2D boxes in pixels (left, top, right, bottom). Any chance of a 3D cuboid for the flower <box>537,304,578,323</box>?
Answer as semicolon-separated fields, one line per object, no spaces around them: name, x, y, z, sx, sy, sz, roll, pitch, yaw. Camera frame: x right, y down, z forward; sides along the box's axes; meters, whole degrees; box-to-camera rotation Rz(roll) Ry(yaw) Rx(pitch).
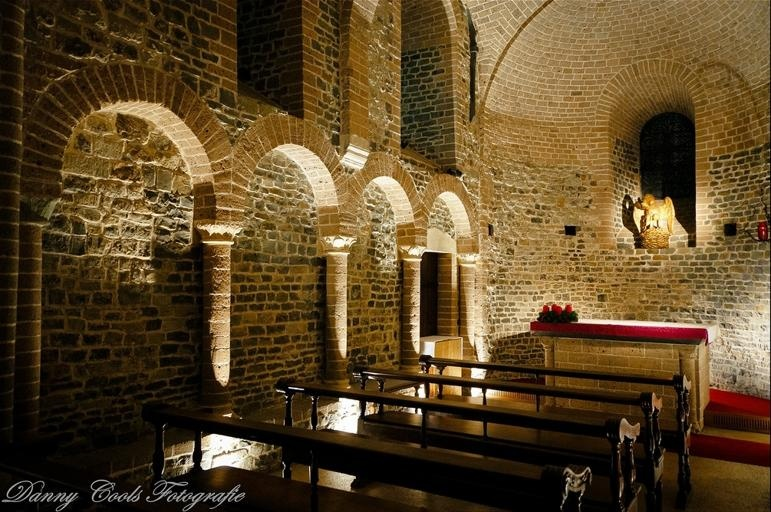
flower;3.116;1.053;10.729;0.448;0.294;0.549;1;-1;-23
